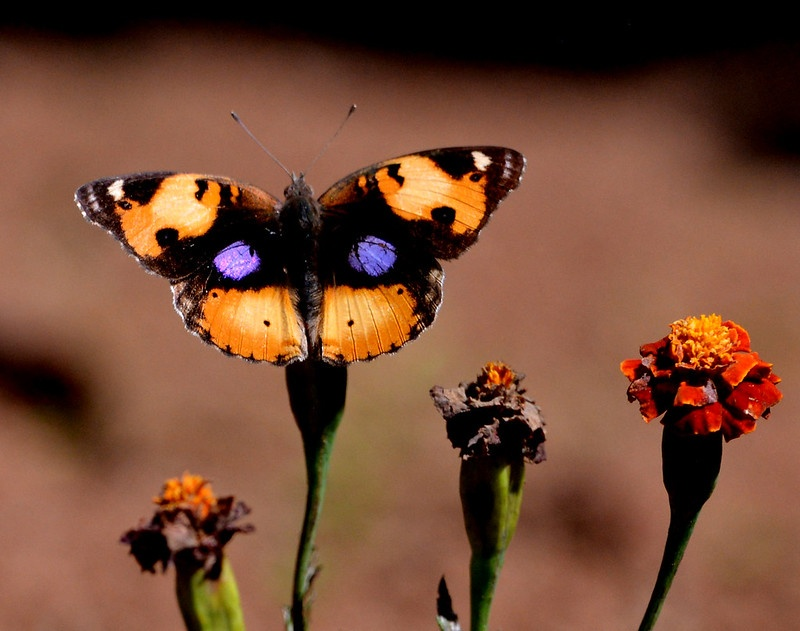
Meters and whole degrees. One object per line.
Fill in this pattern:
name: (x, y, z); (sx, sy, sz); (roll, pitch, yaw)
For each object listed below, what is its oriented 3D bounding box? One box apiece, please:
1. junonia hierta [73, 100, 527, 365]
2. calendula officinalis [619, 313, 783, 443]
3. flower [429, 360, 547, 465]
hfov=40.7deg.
junonia hierta: (-0.228, -0.380, 3.320); (0.797, 0.943, 1.019); (-2, 2, -4)
calendula officinalis: (0.740, 0.145, 2.661); (0.374, 0.302, 0.075); (5, -14, 2)
flower: (0.243, 0.218, 2.740); (0.279, 0.180, 0.327); (-14, 20, -34)
